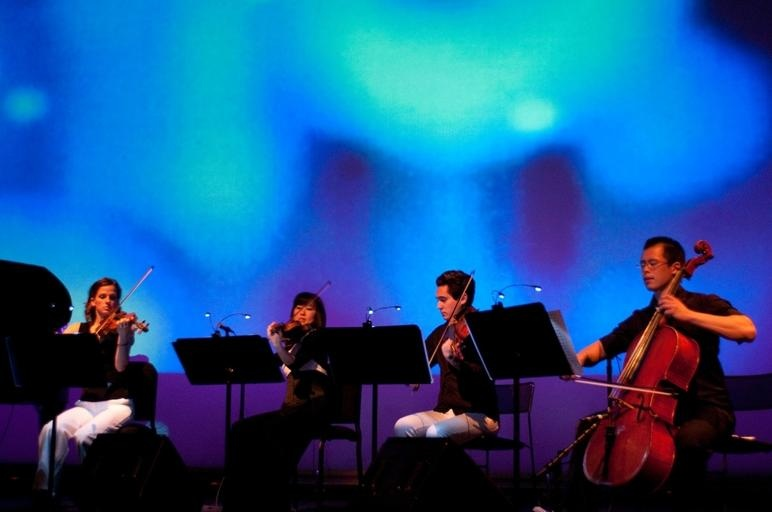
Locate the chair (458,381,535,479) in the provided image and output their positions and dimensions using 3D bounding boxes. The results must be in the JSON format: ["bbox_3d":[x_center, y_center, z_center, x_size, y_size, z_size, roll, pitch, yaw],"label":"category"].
[{"bbox_3d":[1.010,1.640,6.119,0.537,0.960,0.626,-3,-12,20],"label":"chair"}]

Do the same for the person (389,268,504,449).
[{"bbox_3d":[0.602,0.796,5.822,0.837,1.432,0.691,2,5,6],"label":"person"}]

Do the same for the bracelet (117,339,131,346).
[{"bbox_3d":[-2.282,0.757,5.951,0.094,0.053,0.038,4,-12,-27],"label":"bracelet"}]

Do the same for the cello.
[{"bbox_3d":[1.816,0.725,4.938,0.855,1.668,0.976,4,4,18],"label":"cello"}]

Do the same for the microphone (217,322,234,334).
[{"bbox_3d":[-1.576,0.705,6.701,0.159,0.055,0.119,34,-8,-29],"label":"microphone"}]

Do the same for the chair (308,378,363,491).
[{"bbox_3d":[-0.412,1.526,6.178,0.607,1.010,0.536,4,-3,-19],"label":"chair"}]
